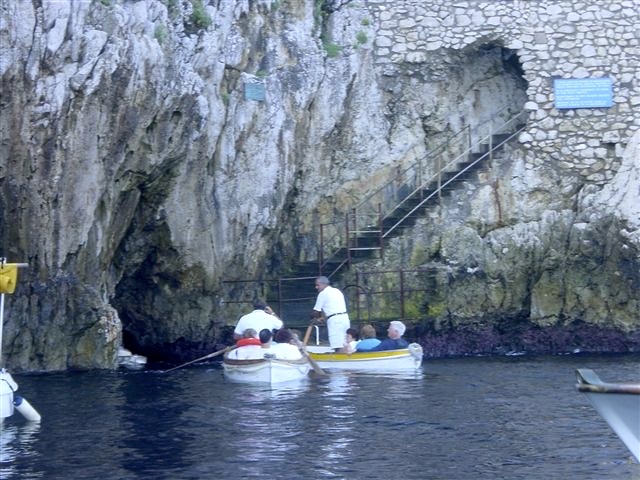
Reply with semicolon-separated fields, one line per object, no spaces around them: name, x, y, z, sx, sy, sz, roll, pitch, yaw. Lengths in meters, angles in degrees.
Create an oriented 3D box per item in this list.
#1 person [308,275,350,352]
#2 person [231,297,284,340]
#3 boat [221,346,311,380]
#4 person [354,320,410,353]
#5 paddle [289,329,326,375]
person;0.226;1.805;37.130;0.895;1.832;0.803;-2;4;26
person;-1.290;1.755;36.369;1.070;0.848;0.825;2;-2;-14
boat;-1.218;2.670;35.632;1.957;0.705;1.664;-1;-4;-7
person;1.394;2.215;37.129;1.322;0.751;0.889;0;6;19
paddle;-0.286;2.550;37.029;0.200;1.270;0.187;-47;-29;13
